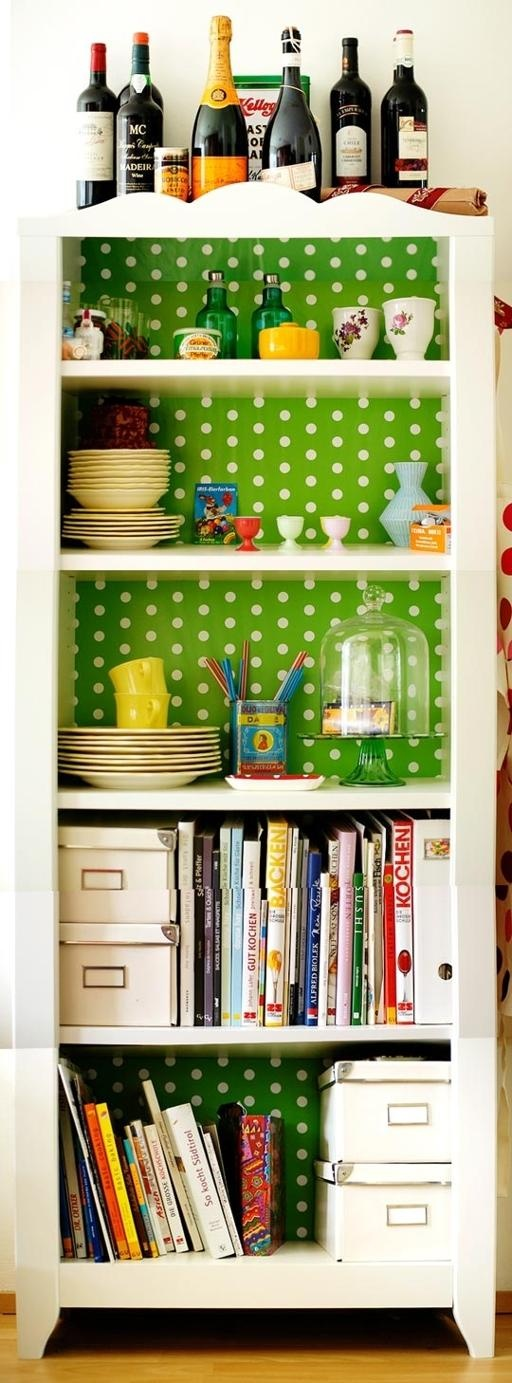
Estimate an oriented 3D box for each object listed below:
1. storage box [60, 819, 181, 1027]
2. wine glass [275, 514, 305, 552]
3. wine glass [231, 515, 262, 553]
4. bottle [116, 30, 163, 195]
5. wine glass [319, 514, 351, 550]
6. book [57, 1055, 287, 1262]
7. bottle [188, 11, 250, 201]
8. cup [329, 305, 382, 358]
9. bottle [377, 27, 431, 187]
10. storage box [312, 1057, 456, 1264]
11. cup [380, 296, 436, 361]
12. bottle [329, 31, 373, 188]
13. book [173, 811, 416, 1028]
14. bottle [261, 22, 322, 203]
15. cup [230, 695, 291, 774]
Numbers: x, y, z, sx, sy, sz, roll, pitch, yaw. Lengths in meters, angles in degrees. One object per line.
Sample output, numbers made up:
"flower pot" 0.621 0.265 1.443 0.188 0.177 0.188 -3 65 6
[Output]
"storage box" -0.173 0.371 1.728 0.189 0.420 0.240 0 -6 0
"wine glass" 0.057 -0.268 1.778 0.047 0.080 0.058 0 -1 -1
"wine glass" -0.017 -0.268 1.778 0.048 0.089 0.059 0 0 0
"bottle" -0.202 -0.983 1.772 0.074 0.356 0.153 2 -8 -9
"wine glass" 0.133 -0.266 1.766 0.049 0.087 0.063 0 0 -2
"book" -0.129 0.761 1.719 0.380 0.322 0.228 2 -9 -7
"bottle" -0.060 -0.921 1.722 0.095 0.330 0.168 1 -8 0
"cup" 0.171 -0.610 1.773 0.064 0.106 0.080 0 0 1
"bottle" 0.256 -1.005 1.812 0.072 0.372 0.127 0 -8 6
"storage box" 0.206 0.714 1.767 0.178 0.393 0.318 0 -6 -1
"cup" 0.257 -0.602 1.768 0.076 0.135 0.100 -1 -2 0
"bottle" 0.164 -0.998 1.809 0.067 0.364 0.135 0 -8 5
"book" 0.058 0.249 1.648 0.303 0.474 0.278 0 1 2
"bottle" 0.059 -0.949 1.734 0.103 0.321 0.123 2 -8 -8
"cup" 0.009 0.083 1.895 0.080 0.229 0.108 1 -4 -2
